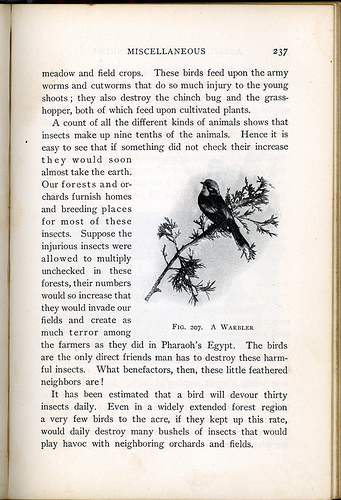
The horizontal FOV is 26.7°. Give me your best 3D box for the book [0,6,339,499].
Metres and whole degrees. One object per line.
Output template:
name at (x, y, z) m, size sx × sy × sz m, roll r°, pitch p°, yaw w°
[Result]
book at (0.001, 0.011, 1.246) m, size 0.729 × 0.091 × 1.100 m, roll 0°, pitch -92°, yaw -2°
